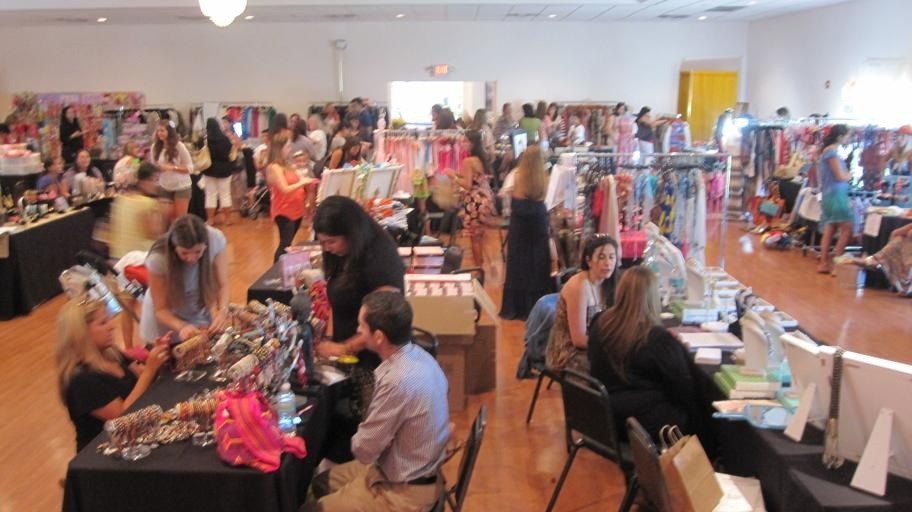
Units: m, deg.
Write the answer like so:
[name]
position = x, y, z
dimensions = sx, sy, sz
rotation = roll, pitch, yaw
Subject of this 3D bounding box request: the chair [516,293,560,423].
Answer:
[chair]
position = 0.766, 1.014, 5.568
dimensions = 0.326, 1.230, 0.650
rotation = 3, 14, 9
